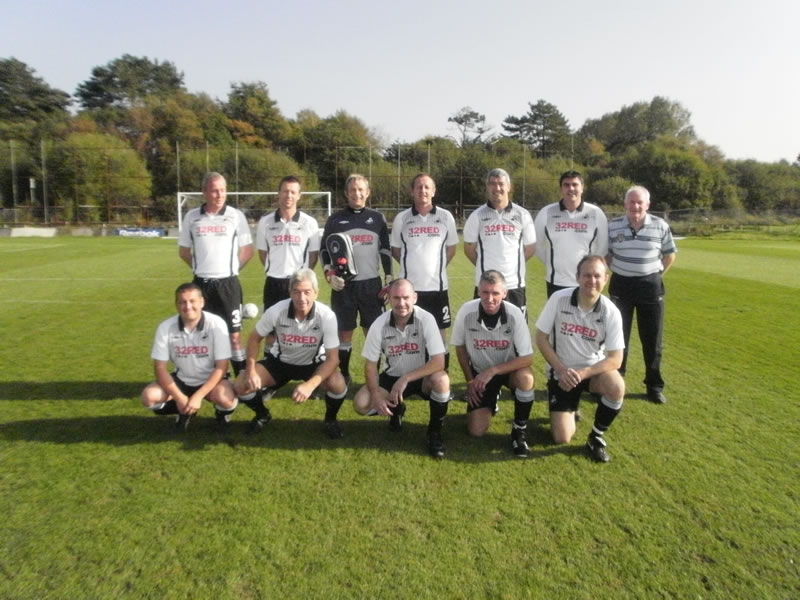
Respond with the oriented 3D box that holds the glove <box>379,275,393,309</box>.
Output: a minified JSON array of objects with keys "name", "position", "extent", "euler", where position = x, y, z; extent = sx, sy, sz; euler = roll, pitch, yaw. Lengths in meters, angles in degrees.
[{"name":"glove","position":[-0.120,-0.078,6.836],"extent":[0.126,0.294,0.212],"euler":[10,1,2]}]

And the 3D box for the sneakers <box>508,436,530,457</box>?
[{"name":"sneakers","position":[1.115,1.273,5.810],"extent":[0.163,0.142,0.216],"euler":[2,9,14]}]

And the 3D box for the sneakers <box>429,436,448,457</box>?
[{"name":"sneakers","position":[0.362,1.280,5.801],"extent":[0.156,0.130,0.189],"euler":[0,9,0]}]

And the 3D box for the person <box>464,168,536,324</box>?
[{"name":"person","position":[1.097,-0.256,6.964],"extent":[0.758,2.147,0.556],"euler":[-1,4,3]}]

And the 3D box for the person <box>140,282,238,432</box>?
[{"name":"person","position":[-1.931,0.504,5.989],"extent":[0.833,1.303,0.505],"euler":[-3,8,-16]}]

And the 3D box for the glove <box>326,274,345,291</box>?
[{"name":"glove","position":[-0.633,-0.178,6.760],"extent":[0.150,0.165,0.274],"euler":[-5,8,-43]}]

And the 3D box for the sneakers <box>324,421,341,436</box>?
[{"name":"sneakers","position":[-0.607,1.181,6.072],"extent":[0.065,0.093,0.155],"euler":[34,-15,-29]}]

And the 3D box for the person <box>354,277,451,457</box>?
[{"name":"person","position":[0.116,0.570,6.100],"extent":[0.852,1.506,0.884],"euler":[4,10,23]}]

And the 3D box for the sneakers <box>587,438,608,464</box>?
[{"name":"sneakers","position":[1.763,1.292,5.727],"extent":[0.233,0.161,0.174],"euler":[5,10,35]}]

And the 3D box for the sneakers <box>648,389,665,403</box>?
[{"name":"sneakers","position":[2.701,0.981,6.738],"extent":[0.095,0.085,0.224],"euler":[16,-15,-8]}]

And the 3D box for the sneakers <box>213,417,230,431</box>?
[{"name":"sneakers","position":[-1.685,1.149,6.153],"extent":[0.195,0.146,0.067],"euler":[-2,-1,36]}]

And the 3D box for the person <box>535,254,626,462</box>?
[{"name":"person","position":[1.670,0.459,5.936],"extent":[0.797,1.703,0.542],"euler":[4,9,30]}]

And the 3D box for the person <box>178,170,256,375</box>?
[{"name":"person","position":[-1.992,-0.147,7.154],"extent":[0.786,2.476,0.625],"euler":[1,11,-4]}]

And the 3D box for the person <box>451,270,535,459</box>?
[{"name":"person","position":[0.950,0.513,6.062],"extent":[0.873,1.563,0.520],"euler":[7,11,42]}]

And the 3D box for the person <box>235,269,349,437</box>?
[{"name":"person","position":[-0.974,0.464,6.128],"extent":[0.936,1.485,0.545],"euler":[2,8,15]}]
